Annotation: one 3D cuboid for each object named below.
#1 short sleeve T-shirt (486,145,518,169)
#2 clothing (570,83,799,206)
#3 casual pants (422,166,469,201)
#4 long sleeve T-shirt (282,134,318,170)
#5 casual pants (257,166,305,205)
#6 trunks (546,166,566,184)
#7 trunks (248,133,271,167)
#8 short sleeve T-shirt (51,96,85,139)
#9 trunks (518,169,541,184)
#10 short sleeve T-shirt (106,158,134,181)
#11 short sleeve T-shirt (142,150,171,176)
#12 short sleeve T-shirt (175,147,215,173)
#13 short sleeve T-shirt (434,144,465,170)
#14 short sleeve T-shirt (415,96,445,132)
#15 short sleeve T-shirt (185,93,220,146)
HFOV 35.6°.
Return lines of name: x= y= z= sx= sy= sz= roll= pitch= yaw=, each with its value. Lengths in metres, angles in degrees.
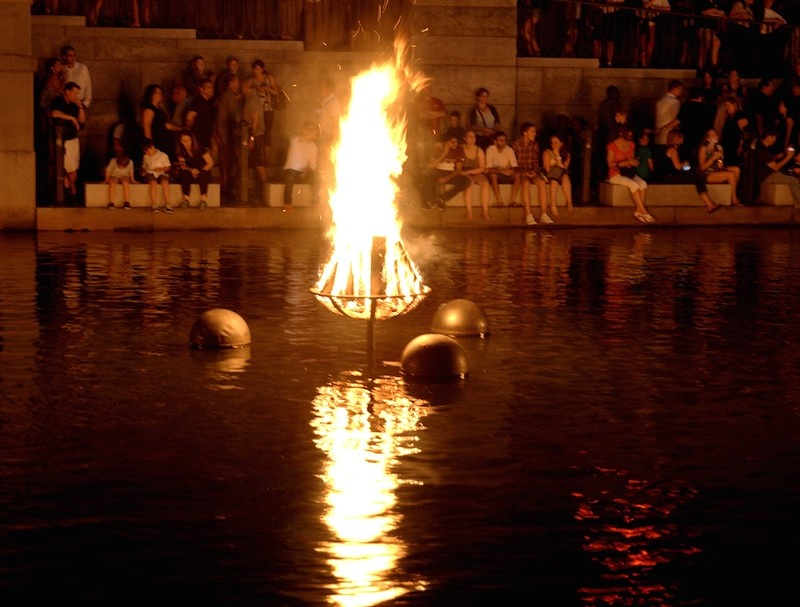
short sleeve T-shirt: x=1.850 y=-2.648 z=22.922 sx=0.795 sy=0.503 sz=0.412 roll=-2 pitch=7 yaw=-11
clothing: x=5.446 y=-3.033 z=24.542 sx=5.546 sy=2.492 sz=1.932 roll=-3 pitch=16 yaw=-2
casual pants: x=0.817 y=-2.132 z=22.463 sx=0.748 sy=0.599 sz=0.251 roll=2 pitch=12 yaw=-13
long sleeve T-shirt: x=-1.763 y=-2.673 z=22.438 sx=0.597 sy=0.709 sz=0.362 roll=2 pitch=-11 yaw=-6
casual pants: x=-2.130 y=-2.095 z=22.479 sx=0.810 sy=0.405 sz=0.744 roll=-2 pitch=5 yaw=-20
trunks: x=2.882 y=-2.348 z=22.877 sx=0.354 sy=0.279 sz=0.173 roll=2 pitch=-11 yaw=-11
trunks: x=-2.619 y=-2.829 z=23.258 sx=0.358 sy=0.582 sz=0.957 roll=1 pitch=-9 yaw=-5
short sleeve T-shirt: x=-5.700 y=-3.210 z=21.640 sx=0.672 sy=0.673 sz=0.427 roll=14 pitch=0 yaw=-21
trunks: x=2.416 y=-2.289 z=22.740 sx=0.234 sy=0.093 sz=0.362 roll=7 pitch=26 yaw=-1
short sleeve T-shirt: x=-4.795 y=-2.231 z=21.367 sx=0.593 sy=0.467 sz=0.347 roll=-2 pitch=7 yaw=-27
short sleeve T-shirt: x=-4.196 y=-2.399 z=21.527 sx=0.750 sy=0.500 sz=0.393 roll=-1 pitch=6 yaw=-17
short sleeve T-shirt: x=-3.484 y=-2.475 z=21.826 sx=0.591 sy=0.634 sz=0.419 roll=-11 pitch=7 yaw=-37
short sleeve T-shirt: x=0.913 y=-2.642 z=22.554 sx=0.605 sy=0.726 sz=0.503 roll=1 pitch=4 yaw=5
short sleeve T-shirt: x=0.576 y=-3.508 z=23.041 sx=0.605 sy=0.704 sz=0.287 roll=-10 pitch=-21 yaw=-32
short sleeve T-shirt: x=-3.527 y=-3.226 z=22.193 sx=0.701 sy=1.029 sz=1.040 roll=0 pitch=8 yaw=8
